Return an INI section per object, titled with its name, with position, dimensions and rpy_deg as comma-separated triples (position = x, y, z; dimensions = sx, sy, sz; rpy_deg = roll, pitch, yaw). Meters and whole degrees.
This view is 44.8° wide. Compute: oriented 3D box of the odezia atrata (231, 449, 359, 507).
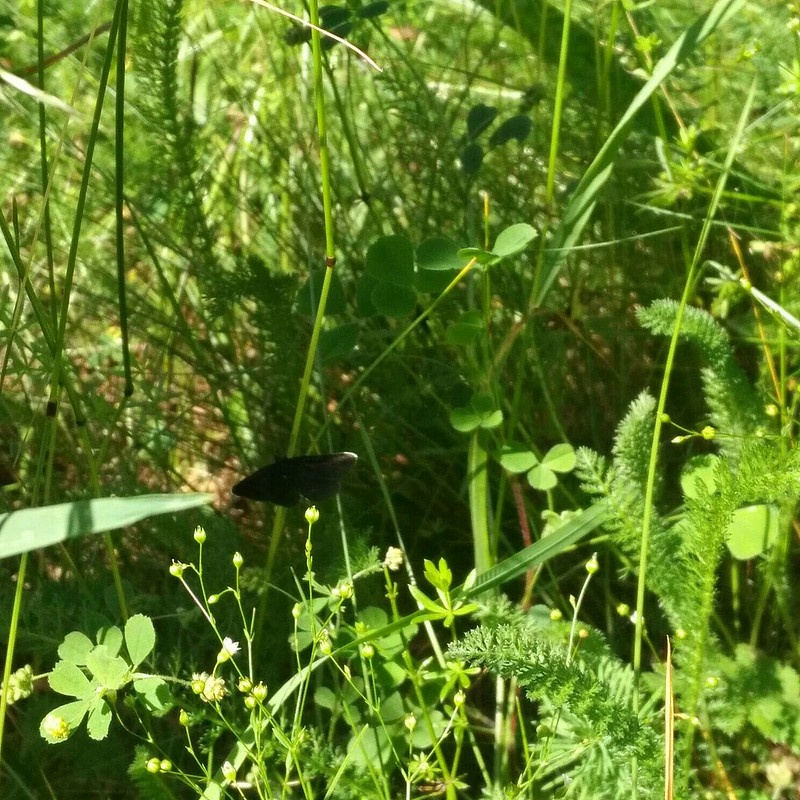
[odezia atrata]
position = -0.148, 0.125, 1.378
dimensions = 0.158, 0.079, 0.047
rpy_deg = -10, -8, -3
